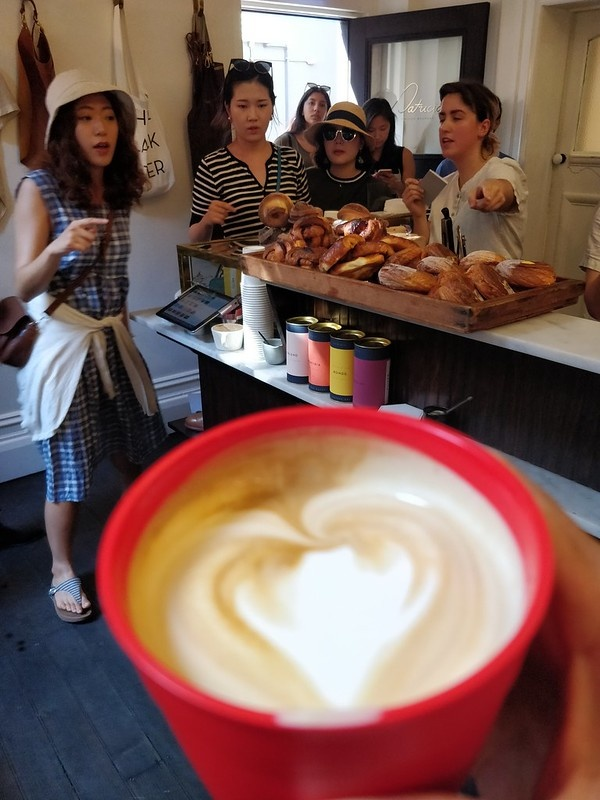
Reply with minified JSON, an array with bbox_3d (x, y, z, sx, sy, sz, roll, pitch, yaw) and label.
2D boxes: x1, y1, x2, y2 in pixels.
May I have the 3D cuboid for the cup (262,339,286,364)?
[{"bbox_3d":[-0.095,-0.175,2.134,0.094,0.101,0.064,1,12,10],"label":"cup"}]

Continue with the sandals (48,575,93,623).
[{"bbox_3d":[-0.914,0.758,2.295,0.092,0.102,0.255,-10,21,-33],"label":"sandals"}]

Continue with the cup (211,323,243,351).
[{"bbox_3d":[-0.272,-0.249,2.320,0.147,0.105,0.145,-1,12,0],"label":"cup"}]

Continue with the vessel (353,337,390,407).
[{"bbox_3d":[0.214,-0.086,1.737,0.111,0.196,0.146,1,12,6],"label":"vessel"}]

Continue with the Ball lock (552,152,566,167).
[{"bbox_3d":[1.823,-1.695,4.058,0.106,0.105,0.025,2,-3,26],"label":"Ball lock"}]

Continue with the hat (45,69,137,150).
[{"bbox_3d":[-0.738,-1.020,2.042,0.322,0.263,0.264,-5,13,-20],"label":"hat"}]

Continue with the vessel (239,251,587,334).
[{"bbox_3d":[0.219,-0.291,1.533,0.891,0.175,0.411,9,16,36],"label":"vessel"}]
